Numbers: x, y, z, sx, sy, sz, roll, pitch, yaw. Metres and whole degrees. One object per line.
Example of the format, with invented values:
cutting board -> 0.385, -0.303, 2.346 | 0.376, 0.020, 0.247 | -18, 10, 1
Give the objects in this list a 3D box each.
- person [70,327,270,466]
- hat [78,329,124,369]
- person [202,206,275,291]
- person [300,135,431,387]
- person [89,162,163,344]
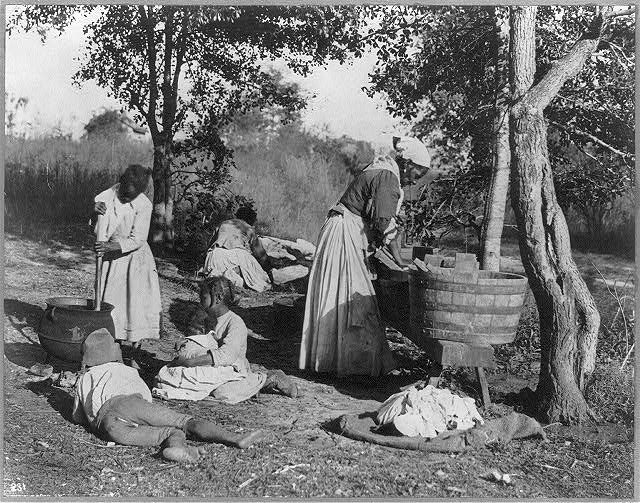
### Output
person -> -1.331, 1.242, 5.526 | 1.605, 0.798, 0.731 | 27, 21, 36
hat -> -1.859, 0.802, 5.937 | 0.334, 0.266, 0.253 | -6, -21, 0
person -> -1.239, -0.054, 10.959 | 1.060, 1.413, 1.015 | 0, -12, 15
person -> 0.410, 0.039, 7.046 | 1.133, 2.447, 0.400 | 3, 0, -1
person -> -1.910, 0.046, 6.920 | 0.714, 1.819, 0.521 | 3, 0, -21
